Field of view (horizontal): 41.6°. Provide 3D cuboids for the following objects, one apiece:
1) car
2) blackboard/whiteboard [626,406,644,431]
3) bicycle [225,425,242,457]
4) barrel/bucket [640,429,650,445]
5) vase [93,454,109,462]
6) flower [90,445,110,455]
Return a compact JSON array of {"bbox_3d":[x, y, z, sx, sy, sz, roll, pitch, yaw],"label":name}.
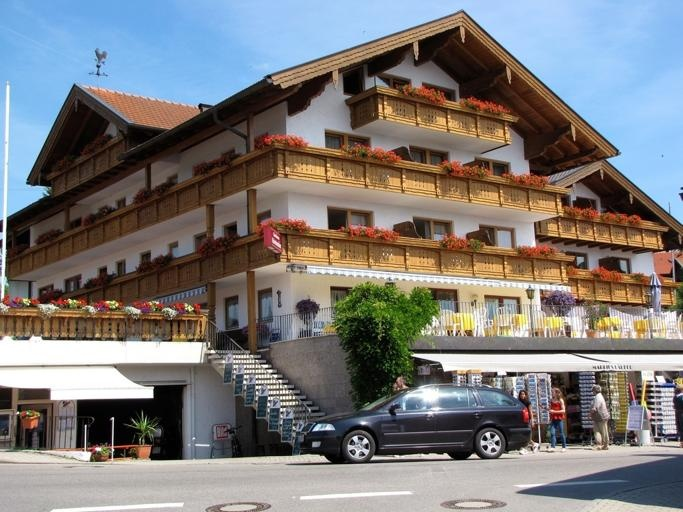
[{"bbox_3d":[1.939,4.859,25.297,6.251,1.807,2.321,4,-16,-11],"label":"car"},{"bbox_3d":[10.479,5.772,32.071,0.589,0.918,0.772,-5,-15,6],"label":"blackboard/whiteboard"},{"bbox_3d":[-4.299,7.391,35.902,0.559,1.177,0.626,-5,-16,5],"label":"bicycle"},{"bbox_3d":[10.835,6.400,31.812,0.505,0.503,0.474,-1,0,0],"label":"barrel/bucket"},{"bbox_3d":[-7.610,6.353,28.276,0.498,0.228,0.692,1,-15,-17],"label":"vase"},{"bbox_3d":[-7.666,6.167,28.631,0.519,0.223,0.486,2,-13,-7],"label":"flower"}]
